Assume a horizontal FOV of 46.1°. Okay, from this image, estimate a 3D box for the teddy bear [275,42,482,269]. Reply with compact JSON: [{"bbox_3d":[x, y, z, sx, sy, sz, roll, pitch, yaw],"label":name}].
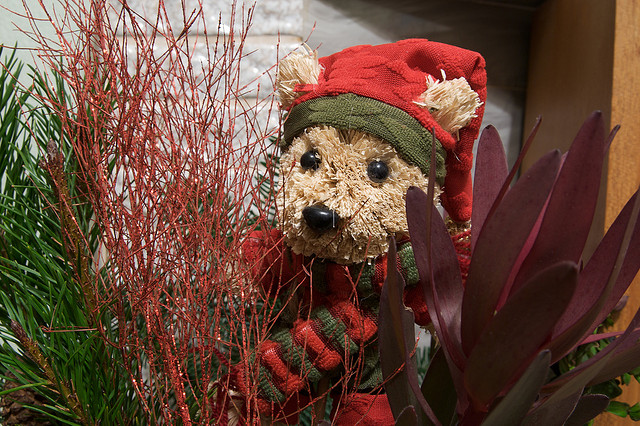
[{"bbox_3d":[0.077,-0.093,1.187,0.333,0.382,0.284,5,4,16],"label":"teddy bear"}]
